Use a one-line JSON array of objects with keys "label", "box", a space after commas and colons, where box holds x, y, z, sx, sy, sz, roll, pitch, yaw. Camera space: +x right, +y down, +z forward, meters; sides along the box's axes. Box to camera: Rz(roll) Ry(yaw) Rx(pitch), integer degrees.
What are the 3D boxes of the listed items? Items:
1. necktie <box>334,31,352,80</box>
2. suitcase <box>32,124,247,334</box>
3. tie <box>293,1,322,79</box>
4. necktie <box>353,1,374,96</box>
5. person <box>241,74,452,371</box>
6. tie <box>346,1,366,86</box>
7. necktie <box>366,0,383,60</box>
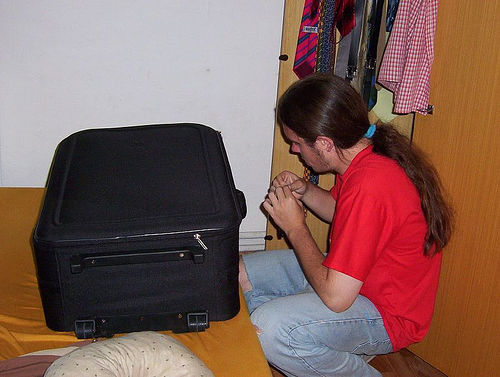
[{"label": "necktie", "box": [0.425, -0.609, 1.937, 0.067, 0.192, 0.073, 1, 27, 10]}, {"label": "suitcase", "box": [-0.375, 0.101, 1.576, 0.598, 0.412, 0.746, 1, 27, -20]}, {"label": "tie", "box": [0.272, -0.706, 2.020, 0.126, 0.325, 0.093, 4, 27, 15]}, {"label": "necktie", "box": [0.503, -0.618, 1.901, 0.067, 0.463, 0.024, 8, 6, 35]}, {"label": "person", "box": [0.337, 0.148, 1.398, 0.614, 0.935, 0.483, 6, 28, 18]}, {"label": "tie", "box": [0.467, -0.645, 1.890, 0.046, 0.333, 0.095, 11, 30, 28]}, {"label": "necktie", "box": [0.546, -0.698, 1.872, 0.040, 0.235, 0.085, 12, 30, 28]}]
